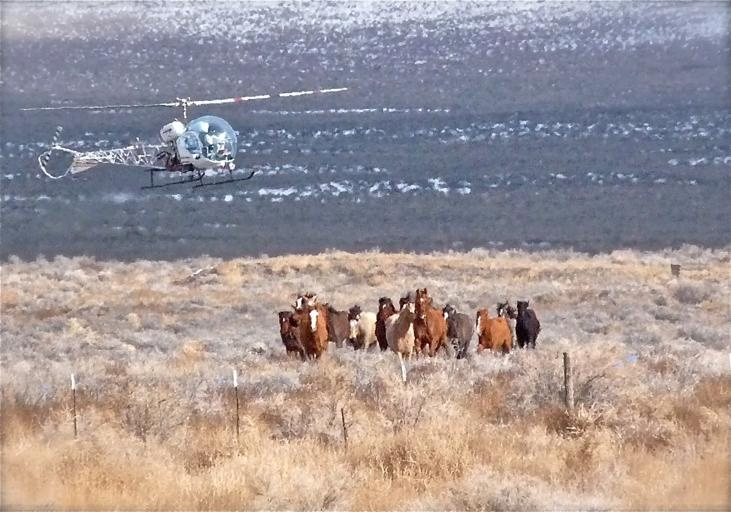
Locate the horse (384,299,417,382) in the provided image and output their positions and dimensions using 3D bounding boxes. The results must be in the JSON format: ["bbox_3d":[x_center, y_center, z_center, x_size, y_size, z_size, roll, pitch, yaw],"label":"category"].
[{"bbox_3d":[1.171,2.928,48.370,0.822,2.528,3.732,-2,0,-10],"label":"horse"}]
